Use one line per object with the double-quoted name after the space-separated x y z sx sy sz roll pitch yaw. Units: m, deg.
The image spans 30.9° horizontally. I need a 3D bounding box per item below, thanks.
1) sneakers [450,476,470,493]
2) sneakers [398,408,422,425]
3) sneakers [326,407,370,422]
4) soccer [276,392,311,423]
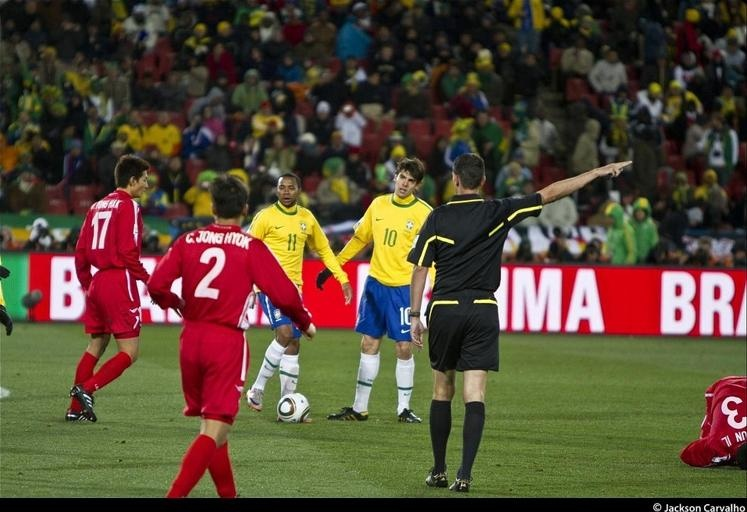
1.126 2.954 17.338 0.272 0.185 0.198 3 -2 3 "sneakers"
0.538 2.332 19.343 0.318 0.162 0.170 -1 0 31 "sneakers"
-0.357 2.276 19.395 0.591 0.260 0.225 5 -6 -1 "sneakers"
-1.151 2.171 19.320 0.414 0.414 0.340 -11 6 -15 "soccer"
